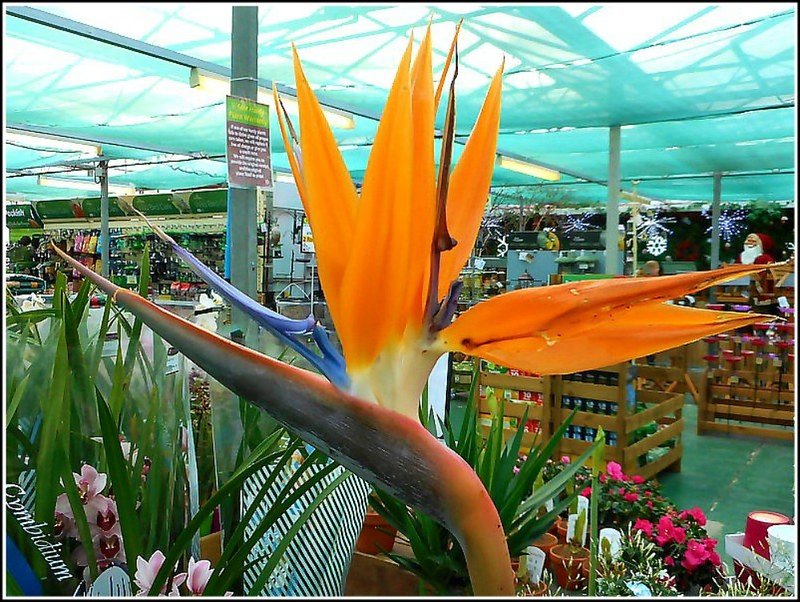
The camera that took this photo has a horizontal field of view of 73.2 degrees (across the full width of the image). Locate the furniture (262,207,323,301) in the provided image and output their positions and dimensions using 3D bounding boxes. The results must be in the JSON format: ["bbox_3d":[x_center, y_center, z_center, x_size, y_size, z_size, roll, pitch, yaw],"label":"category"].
[{"bbox_3d":[-1.716,-0.967,8.881,0.966,1.013,1.041,4,-4,-33],"label":"furniture"}]

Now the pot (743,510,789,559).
[{"bbox_3d":[1.474,0.947,2.161,0.157,0.162,0.153,-4,-10,-1],"label":"pot"}]

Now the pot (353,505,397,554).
[{"bbox_3d":[-0.066,0.646,1.501,0.135,0.097,0.130,-2,-20,-1],"label":"pot"}]
